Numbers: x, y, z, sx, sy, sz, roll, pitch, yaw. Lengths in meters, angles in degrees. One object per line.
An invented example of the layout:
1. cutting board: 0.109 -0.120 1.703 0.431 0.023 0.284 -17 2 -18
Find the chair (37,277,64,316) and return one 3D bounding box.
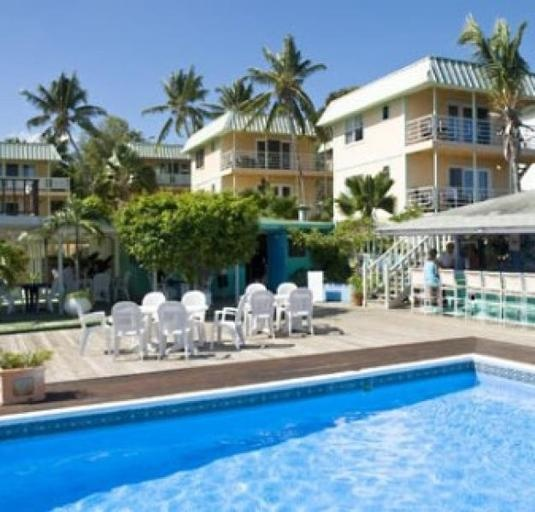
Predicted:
1. chair: -6.428 1.230 19.076 0.781 1.482 0.815 0 -1 13
